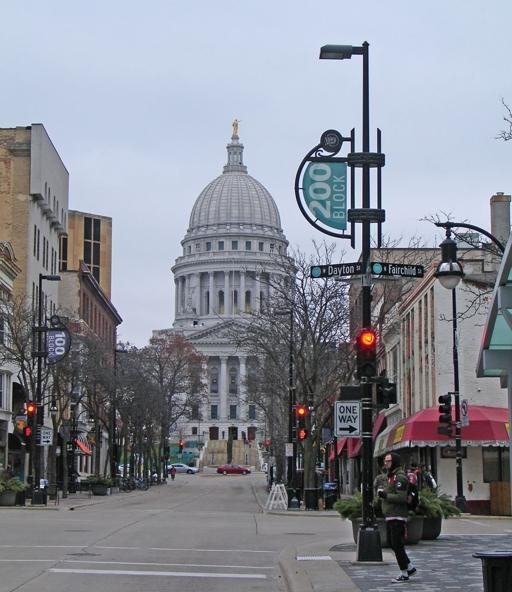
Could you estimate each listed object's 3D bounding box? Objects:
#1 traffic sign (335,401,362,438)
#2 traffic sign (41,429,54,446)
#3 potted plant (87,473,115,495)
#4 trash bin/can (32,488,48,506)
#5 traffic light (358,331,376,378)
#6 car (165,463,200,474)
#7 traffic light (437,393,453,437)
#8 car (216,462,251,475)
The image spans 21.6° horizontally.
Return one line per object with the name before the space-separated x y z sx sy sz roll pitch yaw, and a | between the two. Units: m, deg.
traffic sign | 1.587 2.070 23.183 0.567 0.865 0.080 -1 2 -7
traffic sign | -7.244 4.743 46.396 0.355 0.677 1.428 2 -13 -9
potted plant | -7.532 9.129 65.052 0.966 0.899 1.180 -5 -9 26
trash bin/can | -7.343 6.789 45.715 0.489 0.582 0.515 1 -1 -13
traffic light | 1.866 0.932 22.662 0.306 0.821 0.351 -1 -12 5
car | -7.249 17.215 135.410 2.431 1.140 4.255 -1 -13 5
traffic light | 5.579 3.276 39.298 0.388 1.476 0.381 1 31 13
car | -2.230 16.833 130.928 2.860 1.266 3.316 0 -13 2
